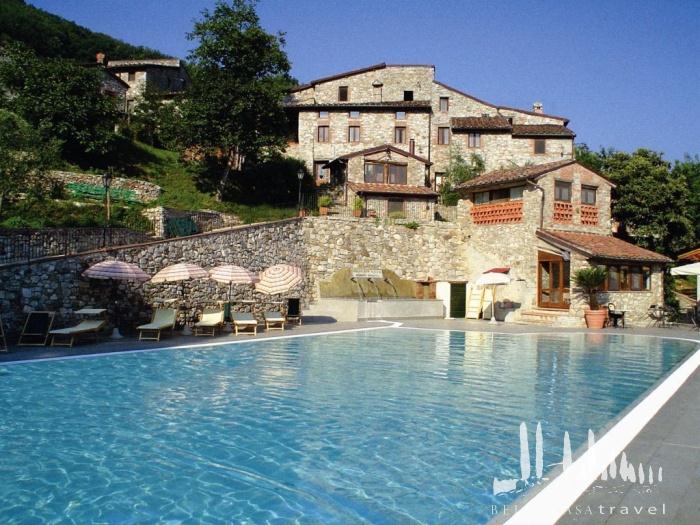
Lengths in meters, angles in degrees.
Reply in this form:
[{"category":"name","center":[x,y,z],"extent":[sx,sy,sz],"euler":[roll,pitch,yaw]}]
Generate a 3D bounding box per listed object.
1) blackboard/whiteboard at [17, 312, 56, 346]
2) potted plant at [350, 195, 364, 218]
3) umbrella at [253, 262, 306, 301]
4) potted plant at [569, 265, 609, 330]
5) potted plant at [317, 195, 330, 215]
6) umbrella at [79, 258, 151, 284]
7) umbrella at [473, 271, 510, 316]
[{"category":"blackboard/whiteboard","center":[-9.711,2.031,17.890],"extent":[0.952,1.022,0.591],"euler":[-2,4,-29]},{"category":"potted plant","center":[0.584,-3.310,34.858],"extent":[1.052,1.597,1.137],"euler":[-3,5,-14]},{"category":"umbrella","center":[-2.880,1.128,23.152],"extent":[1.612,0.603,1.702],"euler":[1,30,22]},{"category":"potted plant","center":[10.758,1.481,26.009],"extent":[1.346,2.721,1.679],"euler":[2,4,30]},{"category":"potted plant","center":[-1.520,-3.252,32.967],"extent":[0.996,1.378,0.997],"euler":[-1,4,-11]},{"category":"umbrella","center":[-7.720,0.277,19.316],"extent":[1.257,0.478,1.276],"euler":[-5,-8,43]},{"category":"umbrella","center":[6.948,1.602,28.214],"extent":[1.555,2.468,3.423],"euler":[1,4,15]}]
